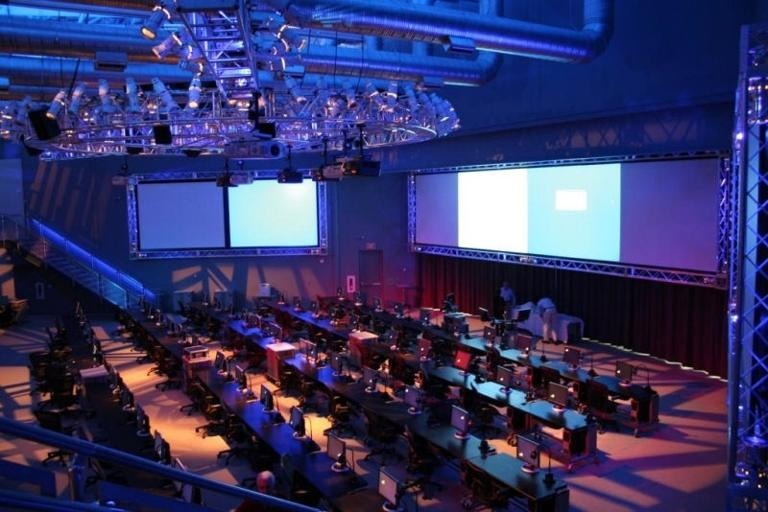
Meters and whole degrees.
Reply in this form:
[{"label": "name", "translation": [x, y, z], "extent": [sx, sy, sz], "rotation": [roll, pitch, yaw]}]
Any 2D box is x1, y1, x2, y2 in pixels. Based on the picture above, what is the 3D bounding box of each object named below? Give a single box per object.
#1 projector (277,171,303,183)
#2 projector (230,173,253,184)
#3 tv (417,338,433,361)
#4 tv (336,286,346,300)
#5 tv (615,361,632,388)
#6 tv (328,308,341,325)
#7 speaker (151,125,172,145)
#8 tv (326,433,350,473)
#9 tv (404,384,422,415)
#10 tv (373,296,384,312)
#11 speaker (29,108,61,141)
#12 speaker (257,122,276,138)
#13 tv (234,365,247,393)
[{"label": "projector", "translation": [-3.109, -2.613, 21.384], "extent": [0.544, 0.333, 0.547], "rotation": [-1, 6, -21]}, {"label": "projector", "translation": [-5.079, -2.725, 22.773], "extent": [0.520, 0.225, 0.706], "rotation": [-1, 2, -15]}, {"label": "tv", "translation": [1.116, 2.598, 17.940], "extent": [0.477, 0.617, 0.180], "rotation": [7, 10, 43]}, {"label": "tv", "translation": [-1.691, 1.425, 24.769], "extent": [0.455, 0.623, 0.349], "rotation": [-1, 4, -25]}, {"label": "tv", "translation": [5.936, 2.945, 16.065], "extent": [0.244, 0.647, 0.668], "rotation": [0, 0, -25]}, {"label": "tv", "translation": [-1.632, 1.932, 20.899], "extent": [0.393, 0.452, 0.485], "rotation": [2, 4, 14]}, {"label": "speaker", "translation": [-5.687, -3.084, 16.473], "extent": [0.415, 0.449, 0.479], "rotation": [-2, 5, -8]}, {"label": "tv", "translation": [-0.950, 3.971, 13.180], "extent": [0.367, 0.632, 0.559], "rotation": [-3, 6, -17]}, {"label": "tv", "translation": [0.649, 3.370, 15.143], "extent": [0.170, 0.501, 0.517], "rotation": [0, -6, -17]}, {"label": "tv", "translation": [-0.206, 1.616, 22.242], "extent": [0.432, 0.432, 0.462], "rotation": [-7, 11, -36]}, {"label": "speaker", "translation": [-8.092, -3.116, 15.361], "extent": [0.616, 0.693, 0.402], "rotation": [-2, 6, -15]}, {"label": "speaker", "translation": [-2.913, -3.086, 15.882], "extent": [0.583, 0.299, 0.551], "rotation": [-4, 11, -25]}, {"label": "tv", "translation": [-3.651, 3.095, 16.263], "extent": [0.103, 0.439, 0.637], "rotation": [-4, 4, -35]}]
